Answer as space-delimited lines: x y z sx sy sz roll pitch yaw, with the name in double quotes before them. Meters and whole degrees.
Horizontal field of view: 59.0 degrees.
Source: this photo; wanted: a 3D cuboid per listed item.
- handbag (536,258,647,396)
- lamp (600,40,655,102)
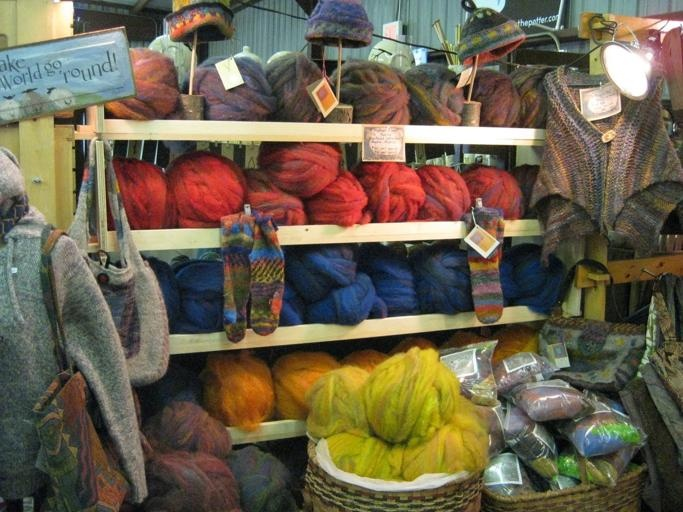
"handbag" 1.032 0.251 2.686 0.558 0.559 0.265 10 5 23
"lamp" 1.146 -0.793 2.489 0.257 0.263 0.060 -28 61 -17
